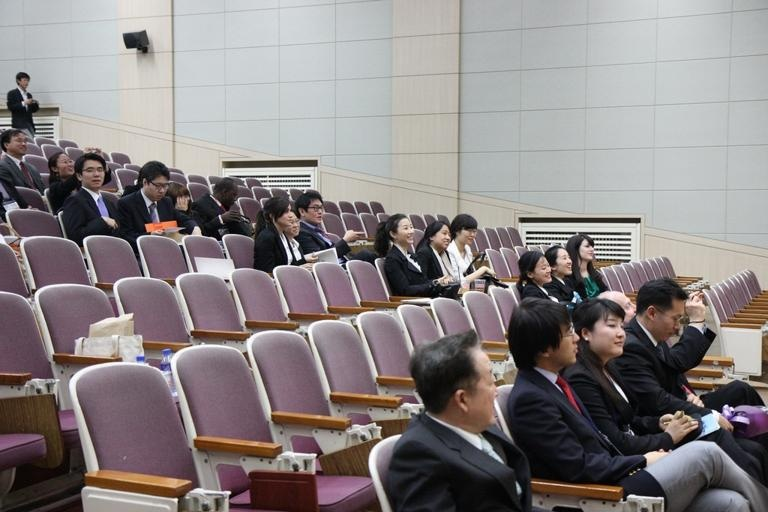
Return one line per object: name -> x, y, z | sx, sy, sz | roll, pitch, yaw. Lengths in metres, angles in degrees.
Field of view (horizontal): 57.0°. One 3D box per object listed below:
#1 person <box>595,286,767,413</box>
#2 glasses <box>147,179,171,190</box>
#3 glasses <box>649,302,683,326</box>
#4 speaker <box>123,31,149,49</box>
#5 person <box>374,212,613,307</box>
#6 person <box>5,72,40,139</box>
person -> 1.924, 0.624, 4.566 | 0.669, 1.050, 0.516 | -18, 5, 16
glasses -> -1.897, -0.605, 5.937 | 0.108, 0.043, 0.111 | -19, -20, 34
glasses -> 1.681, 0.343, 4.252 | 0.129, 0.090, 0.172 | 9, -5, -21
speaker -> -4.063, -3.542, 11.634 | 0.343, 0.381, 0.300 | -3, 32, -9
person -> 0.757, 0.089, 6.322 | 1.501, 0.939, 0.801 | -6, -1, 6
person -> -5.528, -2.339, 10.841 | 0.419, 1.088, 0.810 | -3, 3, -27
